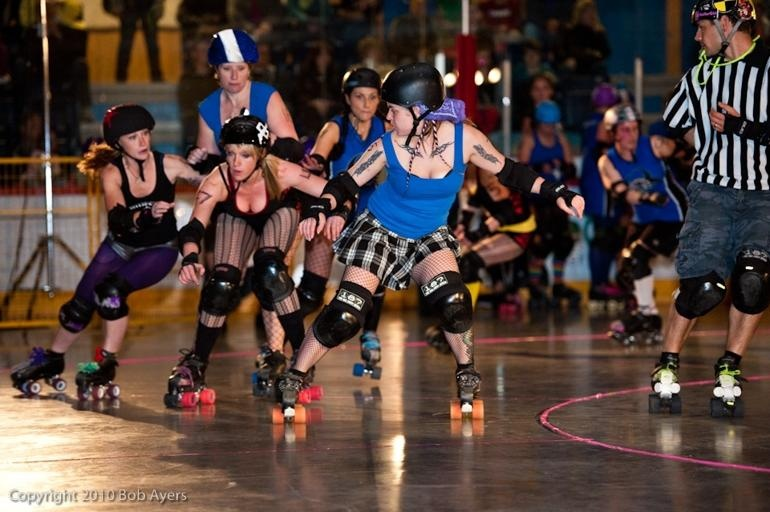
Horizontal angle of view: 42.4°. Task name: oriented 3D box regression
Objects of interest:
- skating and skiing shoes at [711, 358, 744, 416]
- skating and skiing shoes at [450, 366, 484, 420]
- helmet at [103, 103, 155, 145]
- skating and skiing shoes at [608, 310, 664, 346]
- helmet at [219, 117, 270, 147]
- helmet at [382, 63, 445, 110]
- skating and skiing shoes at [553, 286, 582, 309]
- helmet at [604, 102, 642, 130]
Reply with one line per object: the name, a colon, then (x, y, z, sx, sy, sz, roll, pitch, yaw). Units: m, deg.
skating and skiing shoes: (1.979, 0.747, 5.750, 0.198, 0.172, 0.361, -1, 37, 17)
skating and skiing shoes: (0.483, 0.779, 5.834, 0.214, 0.206, 0.399, 3, 36, 3)
helmet: (-1.621, -0.801, 6.197, 0.290, 0.221, 0.225, 7, -26, -44)
skating and skiing shoes: (2.034, 0.597, 8.113, 0.425, 0.229, 0.234, 0, -1, -8)
helmet: (-0.831, -0.733, 5.860, 0.205, 0.127, 0.210, 9, 7, 40)
helmet: (0.163, -0.940, 5.540, 0.311, 0.247, 0.247, -19, 21, 6)
skating and skiing shoes: (1.895, 0.426, 10.265, 0.292, 0.187, 0.116, 19, 13, 4)
helmet: (1.964, -1.165, 8.320, 0.244, 0.230, 0.200, -22, 7, 45)
